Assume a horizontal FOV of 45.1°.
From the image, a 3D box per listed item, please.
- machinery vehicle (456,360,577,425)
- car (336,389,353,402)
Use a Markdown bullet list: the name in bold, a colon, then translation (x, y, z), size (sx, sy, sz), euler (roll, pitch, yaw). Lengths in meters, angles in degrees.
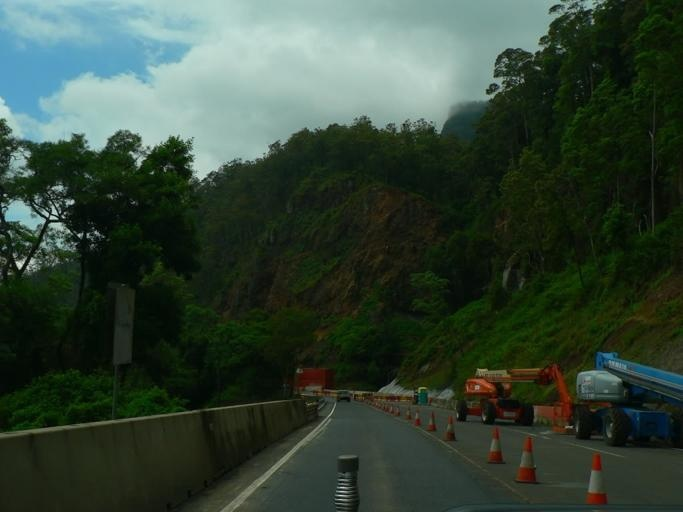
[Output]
- **machinery vehicle**: translation (9.404, 7.419, 44.182), size (2.440, 3.038, 7.317), euler (14, -14, -35)
- **car**: translation (0.400, 16.153, 93.477), size (1.680, 1.631, 3.077), euler (1, -4, -6)
